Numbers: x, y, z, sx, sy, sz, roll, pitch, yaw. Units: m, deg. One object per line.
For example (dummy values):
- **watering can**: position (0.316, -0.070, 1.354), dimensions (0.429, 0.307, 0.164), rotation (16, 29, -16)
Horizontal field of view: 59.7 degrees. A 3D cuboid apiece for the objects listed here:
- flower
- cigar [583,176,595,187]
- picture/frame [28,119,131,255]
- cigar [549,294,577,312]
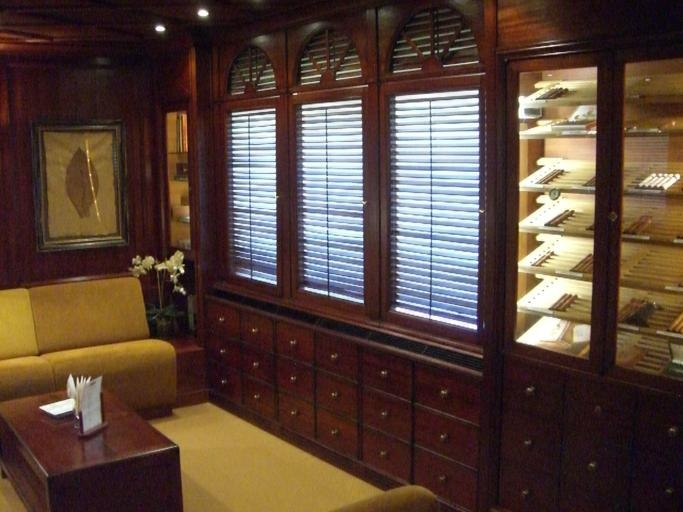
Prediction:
- **flower**: position (-1.802, 0.315, 5.884), dimensions (0.529, 0.849, 0.484), rotation (6, 6, 15)
- **cigar**: position (1.269, -0.383, 3.045), dimensions (0.027, 0.044, 0.107), rotation (7, 18, 27)
- **picture/frame**: position (-2.698, -0.742, 6.020), dimensions (1.175, 1.750, 0.126), rotation (-4, 7, -19)
- **cigar**: position (1.189, 0.247, 3.174), dimensions (0.024, 0.096, 0.087), rotation (25, -4, -29)
